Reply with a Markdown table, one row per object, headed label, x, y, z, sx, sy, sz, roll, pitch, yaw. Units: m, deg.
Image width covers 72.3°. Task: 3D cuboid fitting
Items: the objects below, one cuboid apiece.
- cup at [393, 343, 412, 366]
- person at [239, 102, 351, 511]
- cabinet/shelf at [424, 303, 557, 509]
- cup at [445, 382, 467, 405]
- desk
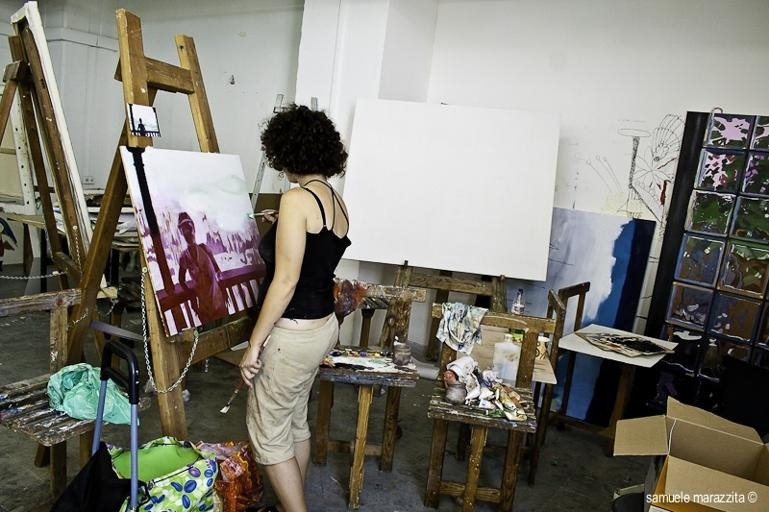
| label | x | y | z | sx | sy | sz | roll | pitch | yaw |
| --- | --- | --- | --- | --- | --- | --- | --- | --- | --- |
| cup | 0.106 | 0.618 | 3.317 | 0.110 | 0.123 | 0.120 | 2 | 3 | 0 |
| person | -0.451 | 0.260 | 2.741 | 0.449 | 2.044 | 0.435 | 5 | 9 | 10 |
| cabinet/shelf | 0.634 | 0.923 | 3.319 | 0.709 | 1.266 | 0.898 | 6 | 10 | 16 |
| cup | 0.409 | 0.797 | 3.056 | 0.111 | 0.102 | 0.114 | 3 | -3 | 0 |
| desk | -2.333 | 0.088 | 3.907 | 0.522 | 0.489 | 0.965 | -2 | 32 | -47 |
